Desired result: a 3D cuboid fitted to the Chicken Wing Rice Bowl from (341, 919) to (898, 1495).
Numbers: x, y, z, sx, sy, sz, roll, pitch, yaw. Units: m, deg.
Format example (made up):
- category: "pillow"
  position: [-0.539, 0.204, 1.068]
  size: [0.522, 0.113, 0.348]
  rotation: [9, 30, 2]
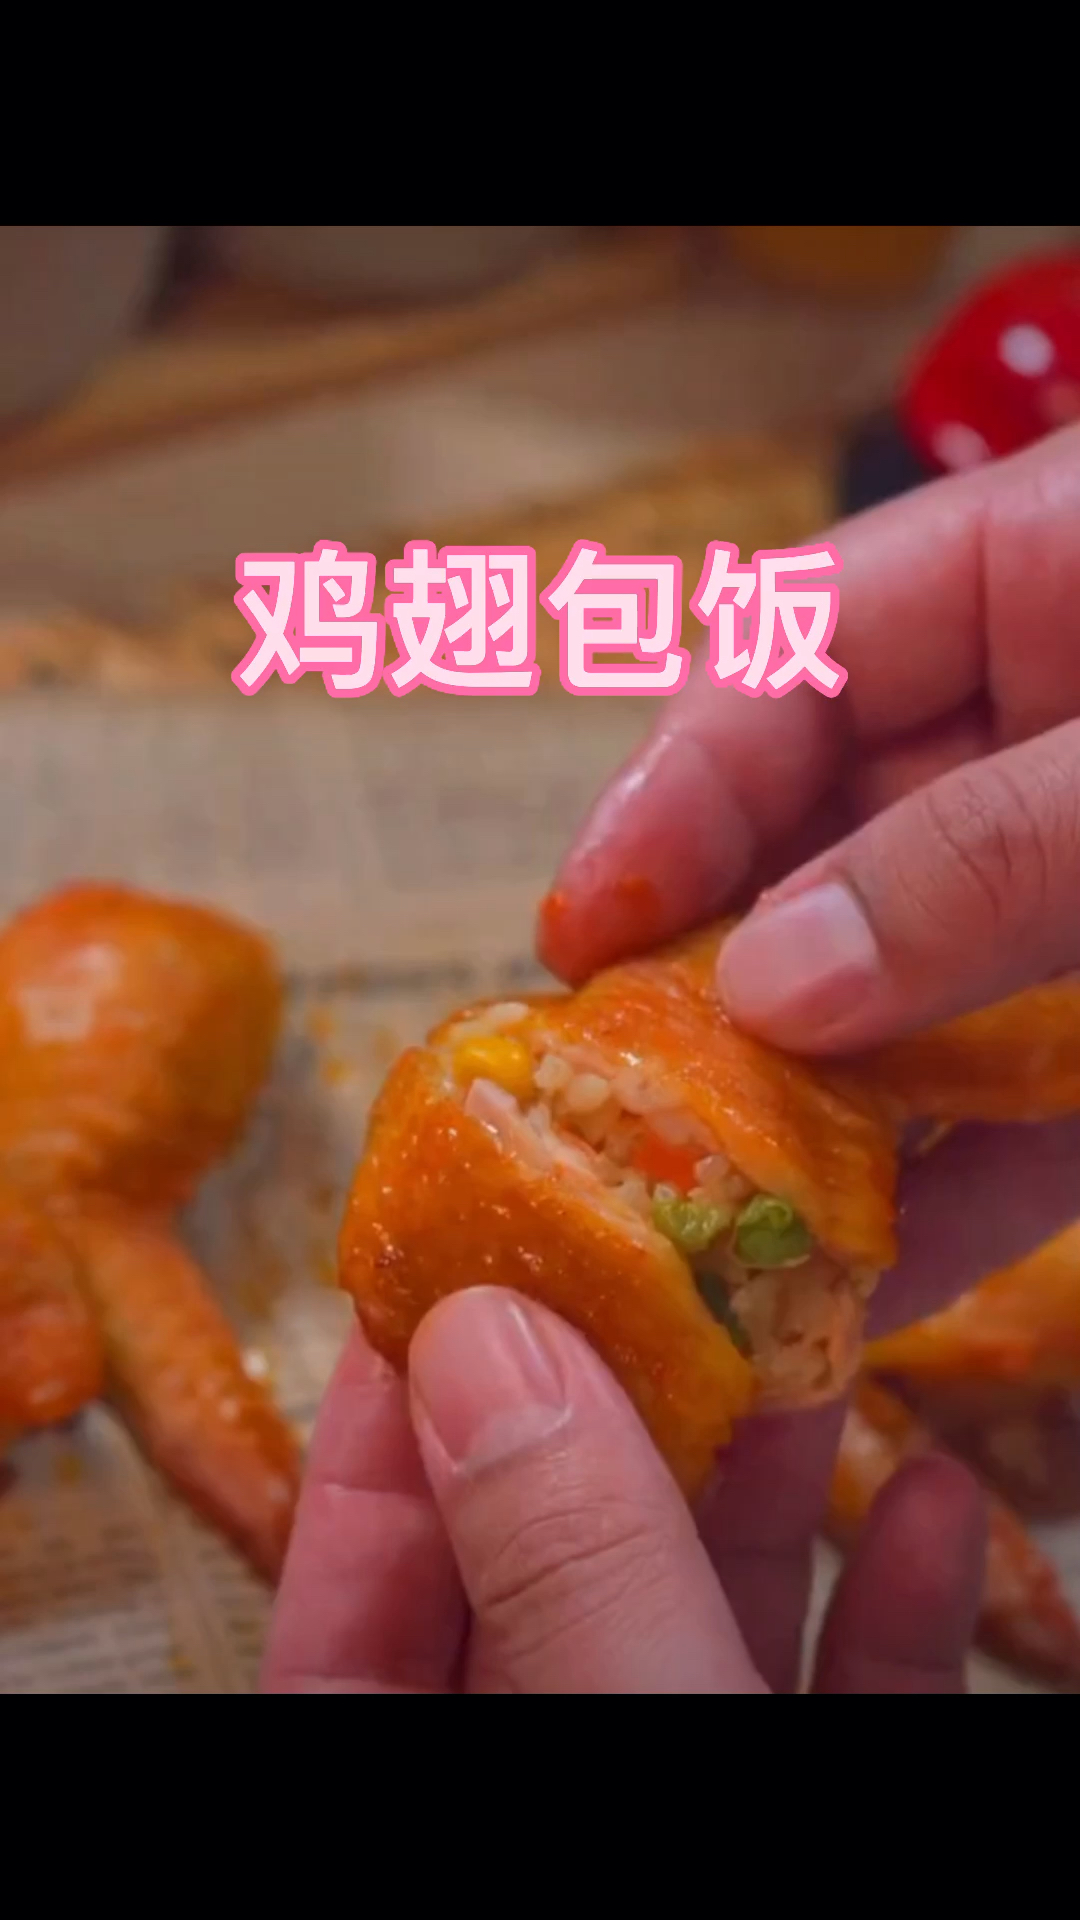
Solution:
- category: "Chicken Wing Rice Bowl"
  position: [0.057, 0.155, 1.111]
  size: [0.337, 0.243, 0.263]
  rotation: [12, 44, 12]
